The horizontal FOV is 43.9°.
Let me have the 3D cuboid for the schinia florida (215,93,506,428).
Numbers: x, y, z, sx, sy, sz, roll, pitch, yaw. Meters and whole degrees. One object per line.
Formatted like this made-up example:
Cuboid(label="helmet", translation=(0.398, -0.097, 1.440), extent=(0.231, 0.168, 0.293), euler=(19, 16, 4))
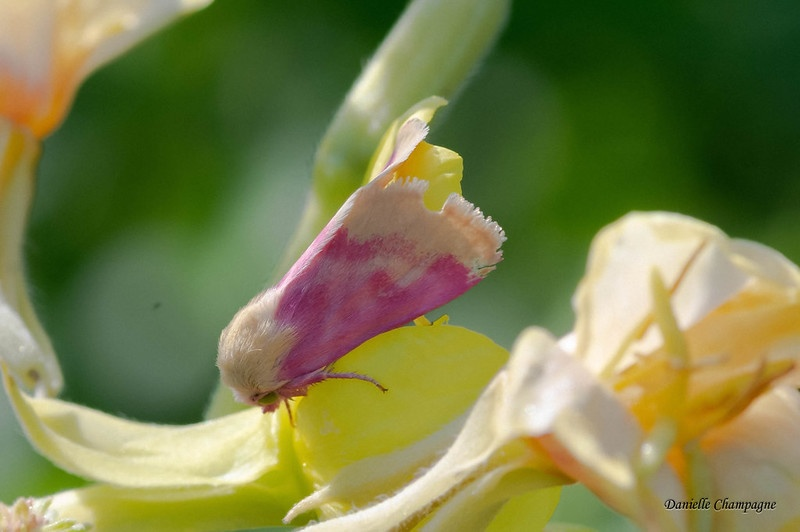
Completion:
Cuboid(label="schinia florida", translation=(-0.066, 0.032, 1.060), extent=(0.259, 0.136, 0.368), euler=(4, 55, 47))
